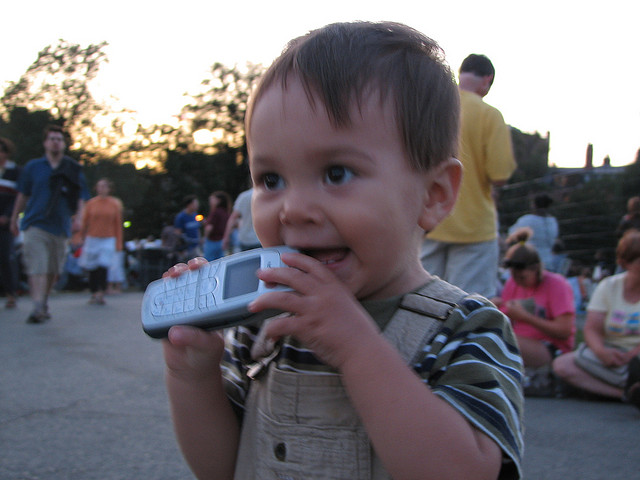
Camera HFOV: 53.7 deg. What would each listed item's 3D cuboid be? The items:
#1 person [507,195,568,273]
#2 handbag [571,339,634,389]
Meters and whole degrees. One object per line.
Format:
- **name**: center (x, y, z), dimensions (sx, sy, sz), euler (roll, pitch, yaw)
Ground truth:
- **person**: center (1.752, -0.054, 5.047), dimensions (0.286, 0.962, 0.333), euler (7, -28, 27)
- **handbag**: center (1.704, 0.760, 3.829), dimensions (0.337, 0.250, 0.260), euler (1, -1, 36)
